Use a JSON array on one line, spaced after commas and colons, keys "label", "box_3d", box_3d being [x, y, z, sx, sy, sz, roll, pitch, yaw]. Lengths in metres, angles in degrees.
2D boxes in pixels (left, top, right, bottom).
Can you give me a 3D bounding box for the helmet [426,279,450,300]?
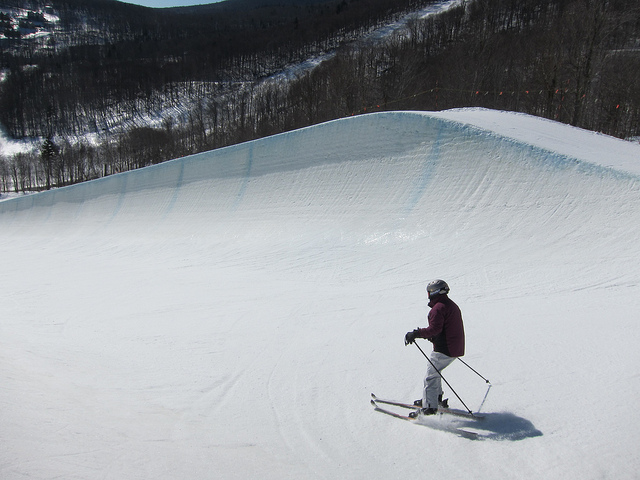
[{"label": "helmet", "box_3d": [2.664, 1.120, 14.127, 0.393, 0.365, 0.484, -7, 10, -40]}]
